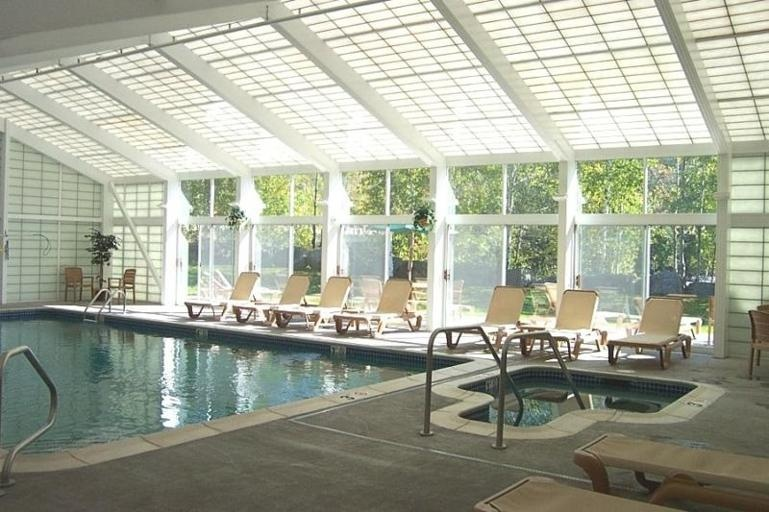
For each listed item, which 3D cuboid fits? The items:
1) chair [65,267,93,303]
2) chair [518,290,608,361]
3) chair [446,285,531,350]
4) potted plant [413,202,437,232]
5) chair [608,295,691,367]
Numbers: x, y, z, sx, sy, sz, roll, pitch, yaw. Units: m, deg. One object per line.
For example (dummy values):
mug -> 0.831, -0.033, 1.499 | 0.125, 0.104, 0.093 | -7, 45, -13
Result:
chair -> -10.986, 0.937, 20.708 | 0.851, 1.226, 1.211 | 1, -4, -6
chair -> 3.673, 1.373, 11.920 | 1.752, 0.968, 1.201 | -11, 11, -41
chair -> 2.347, 1.267, 12.517 | 1.141, 1.282, 1.724 | -1, -4, 29
potted plant -> 1.028, -0.999, 14.907 | 0.833, 0.633, 0.622 | 1, 2, -33
chair -> 5.207, 1.459, 11.321 | 1.279, 0.958, 1.686 | 3, 9, 36
